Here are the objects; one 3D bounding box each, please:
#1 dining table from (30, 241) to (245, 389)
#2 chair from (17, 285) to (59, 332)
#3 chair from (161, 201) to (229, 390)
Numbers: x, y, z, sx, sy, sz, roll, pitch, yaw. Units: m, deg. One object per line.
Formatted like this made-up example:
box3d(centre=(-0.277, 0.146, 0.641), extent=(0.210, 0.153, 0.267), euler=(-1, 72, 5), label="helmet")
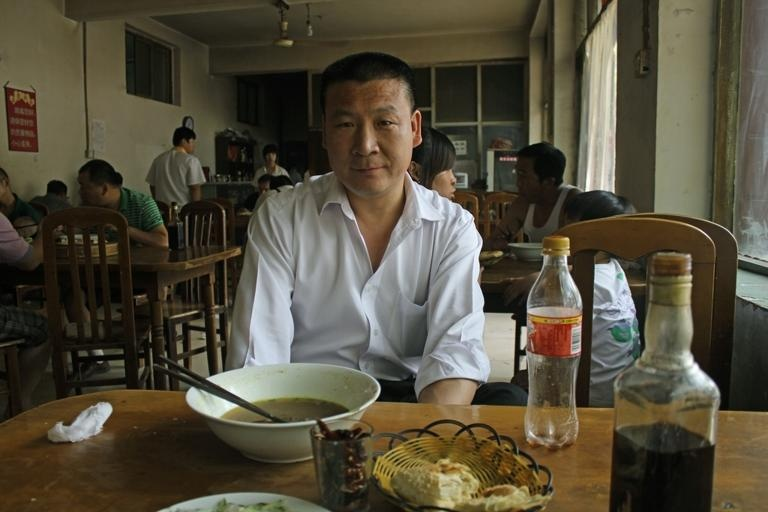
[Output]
box3d(centre=(-1.345, 0.342, 3.548), extent=(1.097, 0.830, 1.093), euler=(-2, 9, -14), label="dining table")
box3d(centre=(-2.581, 0.338, 4.568), extent=(0.200, 0.279, 0.263), euler=(4, 7, 40), label="chair")
box3d(centre=(-1.290, 0.257, 3.934), extent=(0.588, 1.170, 0.572), euler=(-5, 8, -25), label="chair")
